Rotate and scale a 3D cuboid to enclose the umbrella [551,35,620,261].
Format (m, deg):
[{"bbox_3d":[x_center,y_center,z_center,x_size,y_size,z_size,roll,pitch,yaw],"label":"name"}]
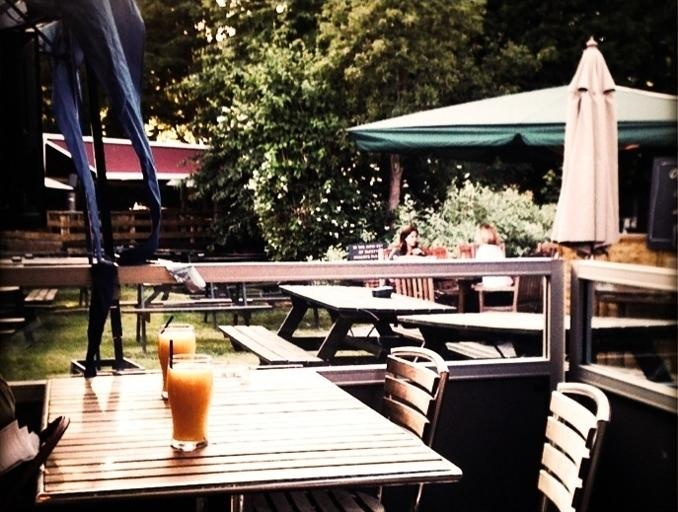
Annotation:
[{"bbox_3d":[1.729,-0.739,5.311,0.433,1.501,0.564,3,5,22],"label":"umbrella"}]

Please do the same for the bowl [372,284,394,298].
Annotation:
[{"bbox_3d":[0.274,0.223,4.921,0.066,0.050,0.108,3,1,43],"label":"bowl"}]
